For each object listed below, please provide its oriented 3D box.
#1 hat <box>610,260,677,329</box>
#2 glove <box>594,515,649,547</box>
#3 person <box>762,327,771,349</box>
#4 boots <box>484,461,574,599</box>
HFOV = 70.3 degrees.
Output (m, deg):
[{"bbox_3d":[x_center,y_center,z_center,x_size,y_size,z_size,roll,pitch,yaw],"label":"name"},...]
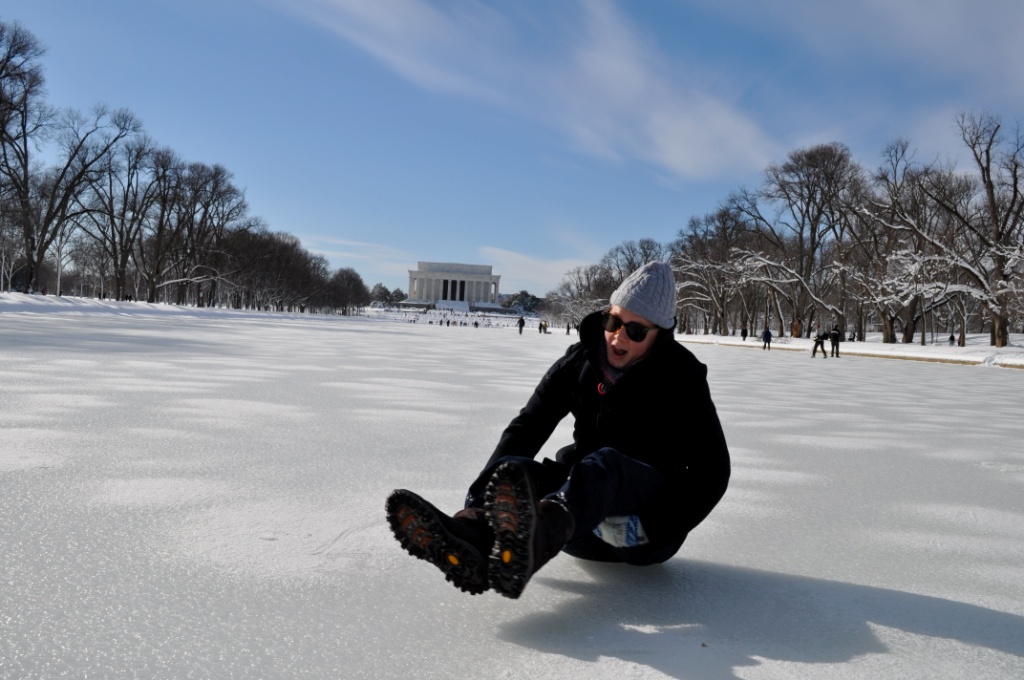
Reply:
[{"bbox_3d":[0.700,-0.241,3.862,0.342,0.334,0.406,26,8,-1],"label":"hat"},{"bbox_3d":[0.546,0.923,3.556,0.198,0.109,0.278,-1,-4,2],"label":"glove"},{"bbox_3d":[12.919,-0.105,36.850,0.382,0.959,1.396,4,6,19],"label":"person"},{"bbox_3d":[0.068,0.799,3.227,0.256,0.744,0.341,18,19,31],"label":"boots"}]
